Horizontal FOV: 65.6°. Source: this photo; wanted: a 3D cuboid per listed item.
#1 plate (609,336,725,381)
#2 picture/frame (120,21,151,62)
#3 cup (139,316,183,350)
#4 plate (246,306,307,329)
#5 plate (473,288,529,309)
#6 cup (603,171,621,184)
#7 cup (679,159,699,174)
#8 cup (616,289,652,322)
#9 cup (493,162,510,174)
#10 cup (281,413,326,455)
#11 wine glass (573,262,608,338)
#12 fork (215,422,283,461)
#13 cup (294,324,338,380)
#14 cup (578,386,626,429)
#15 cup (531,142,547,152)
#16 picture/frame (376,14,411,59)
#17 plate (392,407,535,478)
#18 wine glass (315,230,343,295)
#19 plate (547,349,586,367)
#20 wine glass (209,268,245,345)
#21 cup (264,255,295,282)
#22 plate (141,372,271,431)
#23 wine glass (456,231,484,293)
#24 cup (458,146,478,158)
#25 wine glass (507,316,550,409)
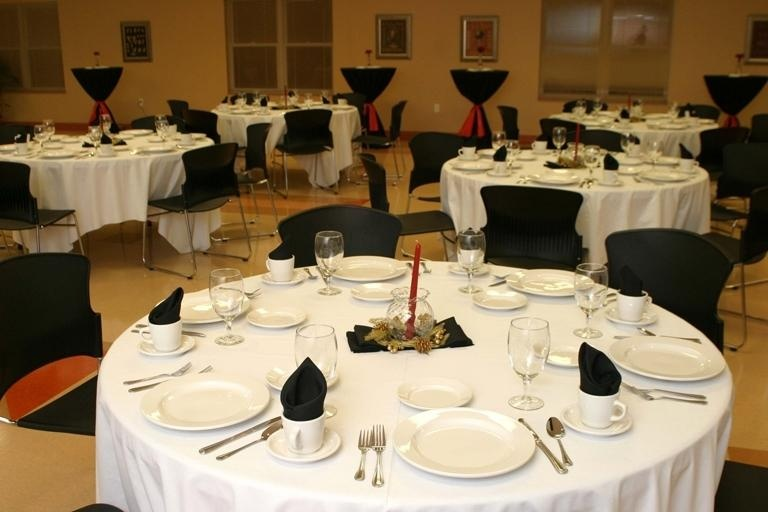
[{"bbox_3d":[0.966,0.351,2.054,0.378,0.060,0.254,4,16,14],"label":"plate"},{"bbox_3d":[-4.895,-4.274,11.793,0.649,0.914,0.093,3,13,12],"label":"picture/frame"},{"bbox_3d":[-0.793,0.278,2.132,0.138,0.109,0.109,-9,19,-38],"label":"cup"},{"bbox_3d":[-0.414,0.238,2.310,0.228,0.034,0.169,2,16,7],"label":"plate"},{"bbox_3d":[0.477,0.178,2.470,0.215,0.033,0.197,2,16,7],"label":"plate"},{"bbox_3d":[1.546,-0.550,4.049,0.083,0.094,0.117,9,39,15],"label":"cup"},{"bbox_3d":[2.217,-0.647,4.345,0.092,0.121,0.154,-2,7,17],"label":"cup"},{"bbox_3d":[0.953,0.187,2.285,0.090,0.103,0.125,-1,3,3],"label":"cup"},{"bbox_3d":[0.850,-0.643,4.347,0.099,0.080,0.085,3,15,24],"label":"cup"},{"bbox_3d":[-0.232,0.505,1.711,0.117,0.112,0.152,0,9,9],"label":"cup"},{"bbox_3d":[0.775,0.154,2.263,0.113,0.248,0.250,5,16,18],"label":"wine glass"},{"bbox_3d":[-0.393,0.539,1.727,0.035,0.022,0.275,24,29,37],"label":"fork"},{"bbox_3d":[-0.211,0.319,1.862,0.120,0.170,0.151,-4,16,-15],"label":"cup"},{"bbox_3d":[0.646,0.448,1.777,0.085,0.092,0.136,-3,14,-6],"label":"cup"},{"bbox_3d":[1.335,-0.947,5.162,0.105,0.084,0.092,-7,20,6],"label":"cup"},{"bbox_3d":[0.185,-3.982,10.736,0.661,0.862,0.063,1,9,4],"label":"picture/frame"},{"bbox_3d":[0.225,0.530,1.697,0.400,0.091,0.222,1,16,4],"label":"plate"},{"bbox_3d":[-0.234,0.013,2.562,0.108,0.260,0.195,-1,15,-4],"label":"wine glass"},{"bbox_3d":[0.621,0.353,2.078,0.100,0.030,0.111,5,17,17],"label":"plate"},{"bbox_3d":[-0.587,0.197,2.218,0.124,0.285,0.139,-4,26,-8],"label":"wine glass"},{"bbox_3d":[-0.459,0.058,2.630,0.085,0.088,0.113,0,0,-6],"label":"cup"},{"bbox_3d":[-0.557,0.452,1.860,0.396,0.072,0.232,1,16,2],"label":"plate"},{"bbox_3d":[0.365,0.021,2.534,0.113,0.264,0.119,-3,15,-7],"label":"wine glass"},{"bbox_3d":[0.682,-0.838,4.896,0.137,0.111,0.119,-1,17,9],"label":"cup"},{"bbox_3d":[0.458,0.323,1.911,0.119,0.254,0.221,4,16,14],"label":"wine glass"}]
